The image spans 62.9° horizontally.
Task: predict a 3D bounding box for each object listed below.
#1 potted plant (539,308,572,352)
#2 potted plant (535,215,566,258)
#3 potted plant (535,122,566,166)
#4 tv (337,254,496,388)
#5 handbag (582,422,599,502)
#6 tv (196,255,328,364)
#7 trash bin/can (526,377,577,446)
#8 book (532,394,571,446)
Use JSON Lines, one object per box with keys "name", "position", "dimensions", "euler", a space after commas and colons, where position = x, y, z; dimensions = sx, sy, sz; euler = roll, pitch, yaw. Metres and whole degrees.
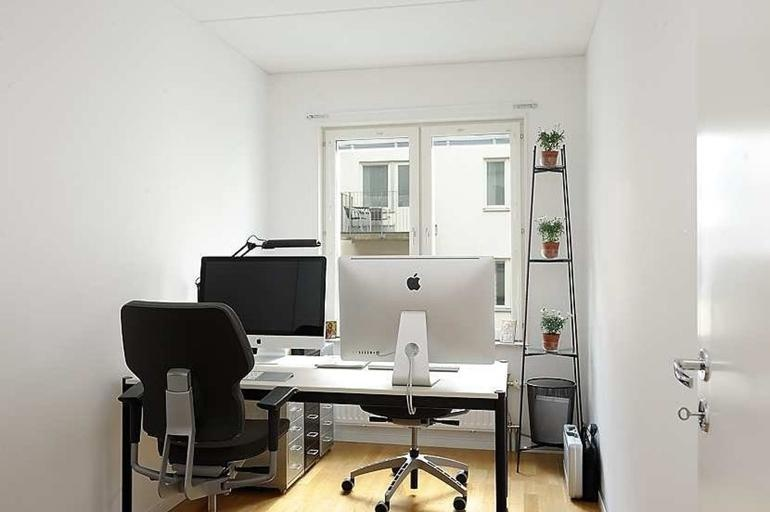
{"name": "potted plant", "position": [1.283, 0.544, 4.721], "dimensions": [0.276, 0.354, 0.262], "euler": [-1, 3, -44]}
{"name": "potted plant", "position": [1.228, -0.127, 4.751], "dimensions": [0.274, 0.374, 0.302], "euler": [-1, -2, 13]}
{"name": "potted plant", "position": [1.218, -0.804, 4.633], "dimensions": [0.169, 0.307, 0.218], "euler": [4, 5, -12]}
{"name": "tv", "position": [0.178, 0.343, 3.438], "dimensions": [0.665, 0.581, 0.234], "euler": [1, 2, 8]}
{"name": "handbag", "position": [1.357, 1.381, 4.143], "dimensions": [0.108, 0.328, 0.473], "euler": [-2, -1, 14]}
{"name": "tv", "position": [-0.734, 0.313, 3.770], "dimensions": [0.632, 0.503, 0.171], "euler": [1, 2, 7]}
{"name": "trash bin/can", "position": [1.175, 1.165, 4.743], "dimensions": [0.430, 0.502, 0.448], "euler": [-1, -7, 12]}
{"name": "book", "position": [1.212, 1.197, 4.594], "dimensions": [0.295, 0.369, 0.101], "euler": [1, 3, 14]}
